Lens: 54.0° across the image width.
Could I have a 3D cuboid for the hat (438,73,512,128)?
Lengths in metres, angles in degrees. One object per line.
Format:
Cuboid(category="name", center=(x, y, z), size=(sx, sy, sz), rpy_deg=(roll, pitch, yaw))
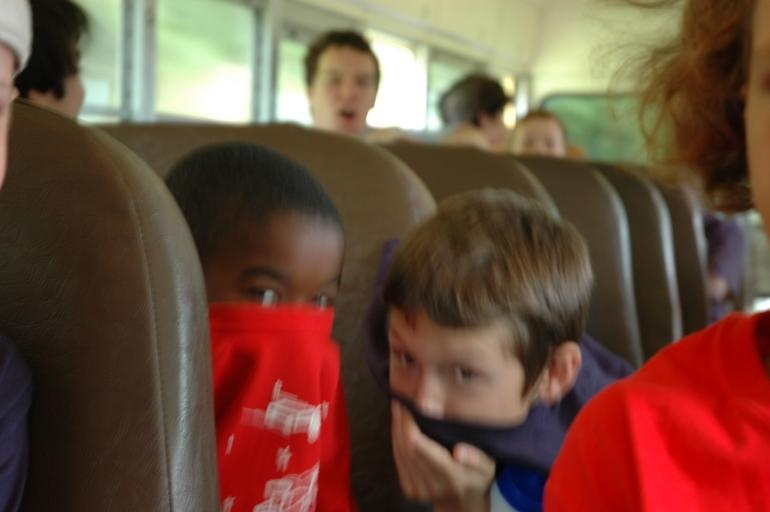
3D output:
Cuboid(category="hat", center=(0.127, -0.208, 1.097), size=(0.079, 0.080, 0.061), rpy_deg=(-32, 13, -2))
